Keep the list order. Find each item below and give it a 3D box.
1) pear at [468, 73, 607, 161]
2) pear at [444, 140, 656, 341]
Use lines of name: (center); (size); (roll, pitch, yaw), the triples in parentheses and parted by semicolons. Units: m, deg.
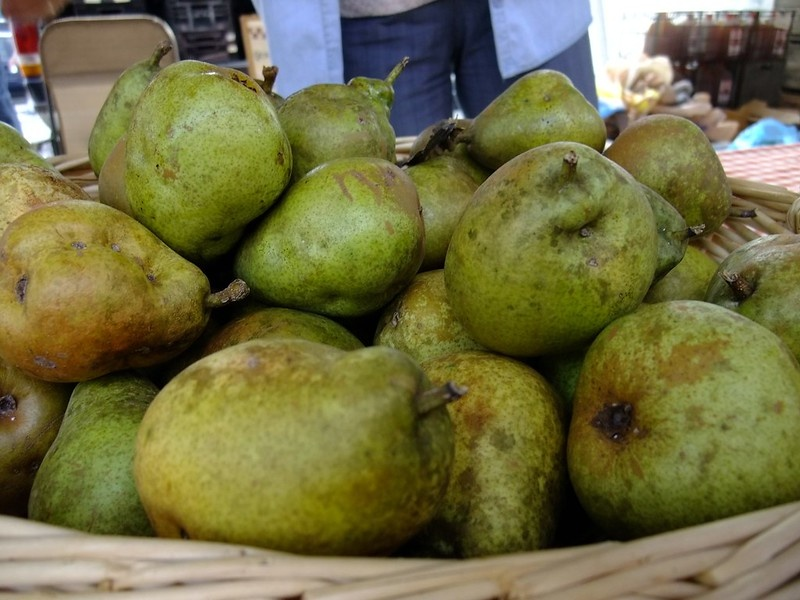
pear: (0.334, -0.401, 1.919); (0.348, 0.272, 0.270); (-2, 23, -12)
pear: (0.250, -0.129, 1.525); (0.367, 0.417, 0.308); (-14, 32, 3)
